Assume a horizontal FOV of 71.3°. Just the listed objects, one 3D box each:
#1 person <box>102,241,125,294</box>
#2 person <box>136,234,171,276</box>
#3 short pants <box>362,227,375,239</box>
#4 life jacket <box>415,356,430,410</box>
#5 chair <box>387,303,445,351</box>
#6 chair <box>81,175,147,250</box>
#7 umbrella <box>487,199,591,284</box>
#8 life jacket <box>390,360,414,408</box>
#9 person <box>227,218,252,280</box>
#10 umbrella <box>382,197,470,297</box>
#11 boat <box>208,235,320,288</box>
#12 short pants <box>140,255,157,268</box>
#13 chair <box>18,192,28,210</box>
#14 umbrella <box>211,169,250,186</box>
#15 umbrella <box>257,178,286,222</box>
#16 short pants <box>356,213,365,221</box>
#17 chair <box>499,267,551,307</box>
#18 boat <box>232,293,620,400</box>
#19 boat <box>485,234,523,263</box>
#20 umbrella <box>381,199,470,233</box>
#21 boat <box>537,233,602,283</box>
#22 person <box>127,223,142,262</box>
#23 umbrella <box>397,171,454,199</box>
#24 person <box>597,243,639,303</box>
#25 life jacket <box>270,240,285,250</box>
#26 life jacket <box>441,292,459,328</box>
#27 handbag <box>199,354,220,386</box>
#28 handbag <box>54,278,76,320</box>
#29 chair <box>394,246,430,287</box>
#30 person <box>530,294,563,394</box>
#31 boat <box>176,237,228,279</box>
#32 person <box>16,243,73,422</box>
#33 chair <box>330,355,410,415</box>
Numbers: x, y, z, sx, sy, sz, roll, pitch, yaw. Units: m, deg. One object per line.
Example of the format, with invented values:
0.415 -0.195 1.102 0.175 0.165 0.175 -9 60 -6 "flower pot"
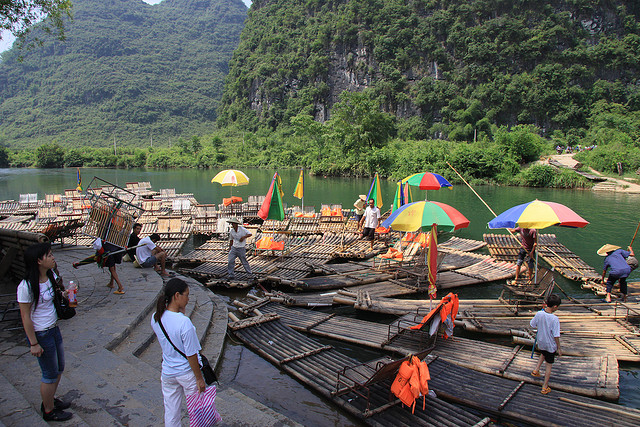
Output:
-6.058 1.543 13.053 0.578 1.476 0.802 0 2 -26 "person"
-5.455 1.286 14.559 1.061 1.303 1.074 2 0 -10 "person"
2.103 0.844 19.589 0.520 0.510 0.360 2 2 16 "short pants"
2.309 3.861 10.130 0.317 1.289 0.379 2 2 20 "life jacket"
2.752 2.966 12.360 1.526 1.149 0.915 -1 1 28 "chair"
-6.581 0.050 13.862 1.097 0.948 1.523 -8 -16 24 "chair"
7.126 1.031 14.697 2.965 2.762 2.886 -3 2 38 "umbrella"
1.901 3.858 10.193 0.330 0.904 0.704 8 -10 12 "life jacket"
-2.892 1.245 15.965 0.792 2.171 1.194 1 2 -11 "person"
3.353 1.152 14.249 2.358 3.107 1.473 2 2 17 "umbrella"
-1.880 1.829 17.722 1.273 0.242 4.535 8 16 19 "boat"
-5.417 1.512 14.103 0.384 0.333 0.125 -36 -28 -9 "short pants"
-19.402 -0.787 29.106 0.508 0.876 1.618 0 2 -32 "chair"
-4.797 -2.001 23.952 1.532 0.888 3.039 1 2 -16 "umbrella"
-2.069 -0.626 19.186 1.026 1.801 1.741 1 2 -5 "umbrella"
1.889 0.149 21.705 0.256 0.358 0.831 2 2 22 "short pants"
6.358 2.325 13.953 1.102 1.231 1.953 12 1 34 "chair"
2.923 3.605 11.905 5.769 0.988 1.538 12 1 26 "boat"
7.812 1.293 18.987 1.248 0.398 2.490 3 27 16 "boat"
3.541 -0.045 15.091 2.729 0.996 2.683 0 4 12 "umbrella"
9.805 1.814 18.414 1.513 0.557 5.029 -2 4 1 "boat"
-5.830 0.895 13.969 0.448 1.319 0.457 16 41 -13 "person"
4.767 -1.219 19.767 1.947 1.366 1.993 -1 11 -6 "umbrella"
9.473 1.884 14.246 0.962 1.712 1.313 3 2 35 "person"
-1.778 1.300 18.383 0.456 0.331 0.052 -1 -32 2 "life jacket"
3.441 2.482 11.914 0.350 0.676 0.499 0 -13 28 "life jacket"
-2.182 3.021 8.674 0.315 0.624 0.263 1 2 -14 "handbag"
-5.352 1.738 9.349 0.344 0.864 0.396 0 2 -23 "handbag"
3.381 2.014 15.819 1.333 0.883 0.881 -1 4 -38 "chair"
5.592 3.113 11.076 0.630 2.340 0.894 2 2 29 "person"
-4.601 1.653 17.743 1.207 0.385 3.000 21 7 0 "boat"
-5.521 2.372 8.926 0.880 3.575 0.435 0 2 -32 "person"
1.260 3.976 10.799 1.750 1.050 1.201 0 3 -31 "chair"
